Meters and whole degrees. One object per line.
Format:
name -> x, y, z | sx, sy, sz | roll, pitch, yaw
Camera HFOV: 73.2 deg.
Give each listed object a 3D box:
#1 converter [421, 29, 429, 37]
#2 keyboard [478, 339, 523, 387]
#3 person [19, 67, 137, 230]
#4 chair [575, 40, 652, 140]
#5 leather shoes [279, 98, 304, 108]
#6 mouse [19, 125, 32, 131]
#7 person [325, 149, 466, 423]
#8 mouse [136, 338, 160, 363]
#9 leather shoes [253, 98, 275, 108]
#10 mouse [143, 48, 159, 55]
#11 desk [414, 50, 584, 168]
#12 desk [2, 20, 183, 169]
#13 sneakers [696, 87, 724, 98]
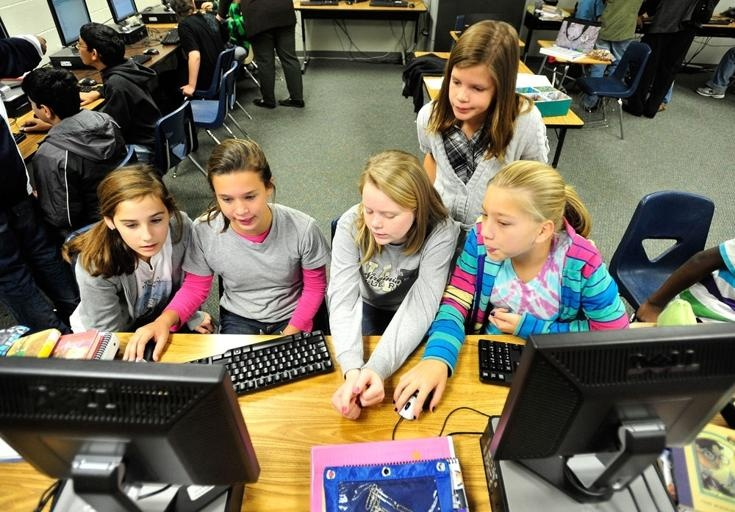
converter -> 0.772, -2.953, 6.593 | 0.099, 0.105, 0.025 | 7, 17, 24
keyboard -> 0.486, 0.399, 1.839 | 0.127, 0.034, 0.186 | 14, 42, 6
person -> -1.650, -0.588, 2.785 | 0.456, 1.106, 0.468 | 26, 46, -2
chair -> 2.340, -1.631, 4.849 | 0.462, 0.797, 0.462 | 0, 36, 4
leather shoes -> -0.827, -1.662, 5.452 | 0.258, 0.107, 0.105 | 8, 34, 1
mouse -> -2.122, -0.790, 3.077 | 0.051, 0.017, 0.052 | 5, 38, 5
person -> 0.068, 0.082, 1.989 | 0.487, 0.918, 1.060 | 5, 28, 15
mouse -> -0.811, 0.351, 1.829 | 0.060, 0.120, 0.064 | 17, 27, 21
leather shoes -> -1.128, -1.646, 5.448 | 0.242, 0.100, 0.105 | 11, 49, 6
mouse -> -1.938, -1.827, 4.451 | 0.111, 0.031, 0.084 | -4, 36, -15
desk -> 1.007, -1.072, 4.227 | 0.725, 0.744, 1.451 | -24, 46, -13
desk -> -1.947, -1.012, 3.858 | 0.904, 1.411, 0.549 | 4, 32, 2
sneakers -> 4.156, -1.971, 6.004 | 0.217, 0.105, 0.097 | 13, 41, 8
